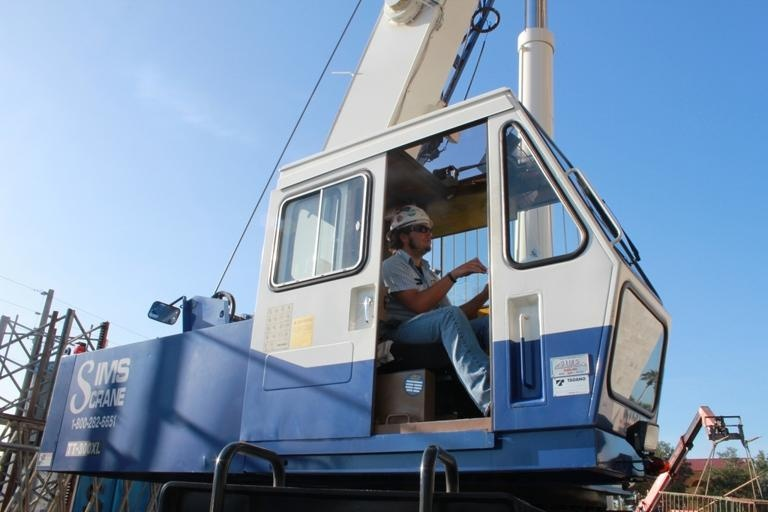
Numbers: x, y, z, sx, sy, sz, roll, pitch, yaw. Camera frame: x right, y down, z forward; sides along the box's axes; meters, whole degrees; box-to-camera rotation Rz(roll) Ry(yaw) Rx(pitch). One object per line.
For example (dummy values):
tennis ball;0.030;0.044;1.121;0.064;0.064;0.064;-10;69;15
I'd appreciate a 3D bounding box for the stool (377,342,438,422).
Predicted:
stool;0.176;0.968;4.256;0.514;0.480;0.172;-11;-29;28

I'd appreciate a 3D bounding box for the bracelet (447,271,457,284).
bracelet;0.569;0.185;4.642;0.080;0.023;0.080;-3;-51;51

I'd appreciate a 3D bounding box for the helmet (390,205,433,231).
helmet;0.251;-0.348;5.402;0.305;0.150;0.238;-11;-22;22
